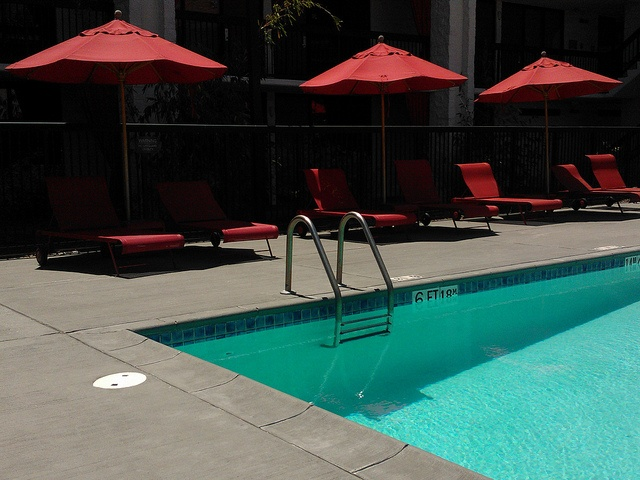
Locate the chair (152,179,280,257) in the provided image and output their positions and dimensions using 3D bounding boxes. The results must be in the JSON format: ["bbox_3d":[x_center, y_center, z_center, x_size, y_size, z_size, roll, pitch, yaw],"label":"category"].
[{"bbox_3d":[-1.601,-0.342,7.913,1.881,0.974,1.046,6,10,43],"label":"chair"}]

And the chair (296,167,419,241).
[{"bbox_3d":[0.624,-0.651,9.422,1.203,1.072,2.024,-12,16,-43],"label":"chair"}]

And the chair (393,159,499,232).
[{"bbox_3d":[2.456,-0.915,10.387,1.256,1.348,2.068,-12,15,-39],"label":"chair"}]

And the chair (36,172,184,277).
[{"bbox_3d":[-3.279,-0.176,8.134,1.184,1.183,2.265,-6,-8,11],"label":"chair"}]

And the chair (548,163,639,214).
[{"bbox_3d":[6.869,-1.278,12.894,2.263,1.251,1.155,2,8,24],"label":"chair"}]

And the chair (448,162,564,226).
[{"bbox_3d":[3.777,-1.007,11.360,2.437,1.303,1.201,12,19,43],"label":"chair"}]

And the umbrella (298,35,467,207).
[{"bbox_3d":[1.455,-2.087,10.704,3.688,3.374,3.290,-8,12,-19],"label":"umbrella"}]
